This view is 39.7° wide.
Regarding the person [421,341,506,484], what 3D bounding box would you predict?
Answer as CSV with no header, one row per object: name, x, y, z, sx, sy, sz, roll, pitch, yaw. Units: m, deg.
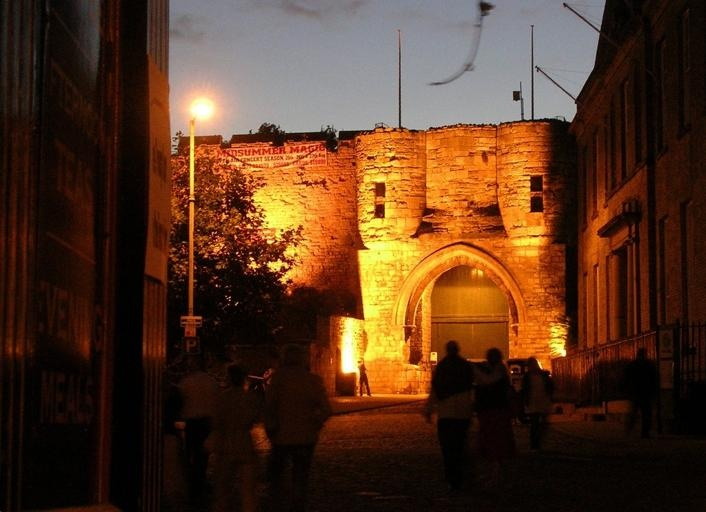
person,1.335,1.935,11.956,0.890,1.688,0.949,12,-2,6

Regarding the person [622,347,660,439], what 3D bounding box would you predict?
person,5.225,2.570,17.782,0.575,1.441,0.924,11,-2,25
